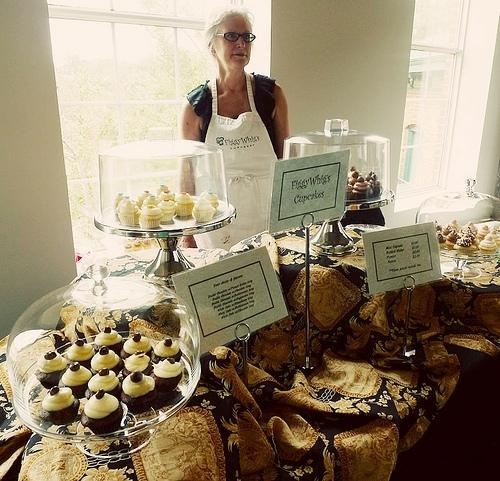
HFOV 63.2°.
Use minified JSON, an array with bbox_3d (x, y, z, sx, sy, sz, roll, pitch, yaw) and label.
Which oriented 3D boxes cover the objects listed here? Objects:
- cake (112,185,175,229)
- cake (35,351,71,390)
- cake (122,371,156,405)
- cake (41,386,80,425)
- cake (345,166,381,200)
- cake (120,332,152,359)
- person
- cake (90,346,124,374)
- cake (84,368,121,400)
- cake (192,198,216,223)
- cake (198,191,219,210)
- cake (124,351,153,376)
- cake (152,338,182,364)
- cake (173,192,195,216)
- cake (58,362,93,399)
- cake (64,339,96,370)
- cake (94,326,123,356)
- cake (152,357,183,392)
[{"bbox_3d":[-0.287,-0.118,1.175,0.132,0.056,0.153,0,17,-6],"label":"cake"},{"bbox_3d":[-0.342,0.224,0.719,0.054,0.052,0.054,0,9,-5],"label":"cake"},{"bbox_3d":[-0.180,0.240,0.659,0.046,0.028,0.046,-2,15,-6],"label":"cake"},{"bbox_3d":[-0.290,0.256,0.636,0.051,0.045,0.051,0,2,-4],"label":"cake"},{"bbox_3d":[0.372,-0.197,1.348,0.109,0.067,0.110,16,24,40],"label":"cake"},{"bbox_3d":[-0.213,0.199,0.769,0.045,0.027,0.045,0,7,-1],"label":"cake"},{"bbox_3d":[-0.051,-0.531,2.012,0.566,1.088,0.279,-8,18,-11],"label":"person"},{"bbox_3d":[-0.255,0.215,0.724,0.046,0.028,0.046,-1,8,-4],"label":"cake"},{"bbox_3d":[-0.240,0.235,0.673,0.045,0.026,0.045,8,17,36],"label":"cake"},{"bbox_3d":[-0.131,-0.089,1.158,0.068,0.065,0.068,1,7,5],"label":"cake"},{"bbox_3d":[-0.118,-0.123,1.225,0.051,0.044,0.051,-1,18,-11],"label":"cake"},{"bbox_3d":[-0.198,0.218,0.721,0.035,0.021,0.035,5,13,15],"label":"cake"},{"bbox_3d":[-0.158,0.202,0.759,0.042,0.039,0.042,0,3,-6],"label":"cake"},{"bbox_3d":[-0.189,-0.109,1.203,0.060,0.062,0.062,-1,14,-4],"label":"cake"},{"bbox_3d":[-0.291,0.236,0.691,0.049,0.046,0.049,-2,5,-8],"label":"cake"},{"bbox_3d":[-0.312,0.208,0.747,0.046,0.028,0.046,1,19,-10],"label":"cake"},{"bbox_3d":[-0.271,0.193,0.790,0.049,0.045,0.049,0,4,-5],"label":"cake"},{"bbox_3d":[-0.140,0.230,0.699,0.048,0.046,0.049,0,6,-5],"label":"cake"}]
